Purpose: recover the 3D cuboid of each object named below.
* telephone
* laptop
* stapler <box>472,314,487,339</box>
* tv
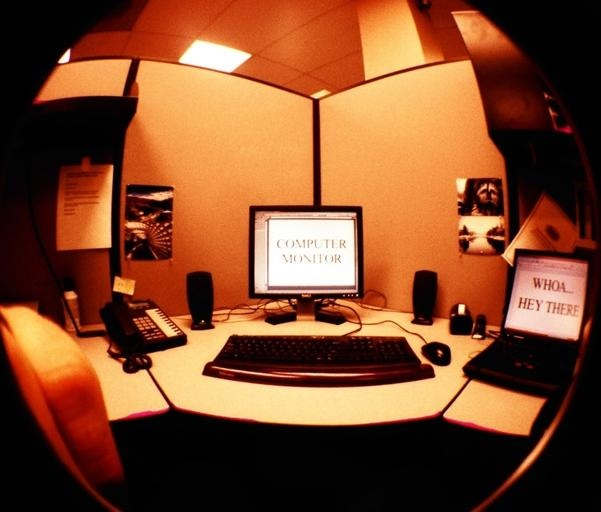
[{"bbox_3d":[-0.454,0.156,1.422,0.143,0.081,0.200,-5,24,-38],"label":"telephone"},{"bbox_3d":[0.566,0.149,1.314,0.261,0.280,0.396,5,19,40],"label":"laptop"},{"bbox_3d":[0.523,0.207,1.473,0.027,0.034,0.093,4,26,19],"label":"stapler"},{"bbox_3d":[0.017,0.017,1.636,0.367,0.363,0.121,0,-5,0],"label":"tv"}]
